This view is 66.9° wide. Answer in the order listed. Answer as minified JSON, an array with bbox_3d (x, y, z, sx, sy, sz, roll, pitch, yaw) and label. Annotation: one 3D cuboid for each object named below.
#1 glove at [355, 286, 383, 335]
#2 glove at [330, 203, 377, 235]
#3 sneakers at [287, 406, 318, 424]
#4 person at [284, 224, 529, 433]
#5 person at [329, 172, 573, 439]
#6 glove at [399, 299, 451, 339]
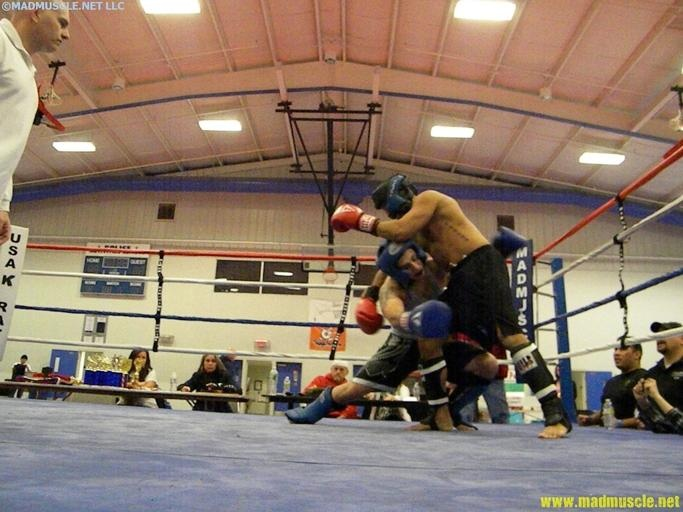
[{"bbox_3d":[0.124,0.267,2.502,0.128,0.214,0.155,-13,-53,9],"label":"glove"},{"bbox_3d":[0.076,-0.176,2.572,0.245,0.143,0.087,5,-45,40],"label":"glove"},{"bbox_3d":[-0.178,0.737,2.409,0.159,0.045,0.070,2,-36,9],"label":"sneakers"},{"bbox_3d":[0.243,0.417,2.528,0.893,0.814,1.347,15,-29,-39],"label":"person"},{"bbox_3d":[0.459,0.158,2.345,0.974,1.221,0.352,-2,-23,13],"label":"person"},{"bbox_3d":[0.344,0.247,2.073,0.216,0.117,0.189,-3,5,20],"label":"glove"}]
